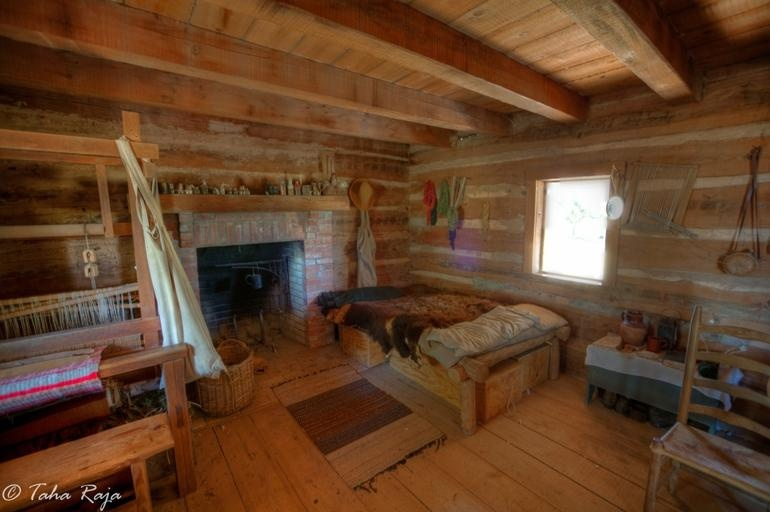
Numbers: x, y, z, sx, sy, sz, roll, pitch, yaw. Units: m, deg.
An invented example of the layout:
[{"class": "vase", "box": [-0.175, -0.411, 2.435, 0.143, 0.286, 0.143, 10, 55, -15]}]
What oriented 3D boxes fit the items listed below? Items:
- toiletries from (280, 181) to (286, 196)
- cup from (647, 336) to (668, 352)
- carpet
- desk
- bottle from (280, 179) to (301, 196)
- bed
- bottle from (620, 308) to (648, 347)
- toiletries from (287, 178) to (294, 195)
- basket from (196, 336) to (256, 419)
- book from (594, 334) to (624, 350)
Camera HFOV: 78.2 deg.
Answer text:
[{"class": "toiletries", "box": [-1.273, -0.838, 5.858, 0.074, 0.178, 0.169, -3, 5, -12]}, {"class": "cup", "box": [2.785, 0.885, 4.775, 0.145, 0.140, 0.183, -3, 5, -43]}, {"class": "carpet", "box": [-0.493, 1.618, 5.089, 0.978, 0.022, 1.484, -17, 12, -26]}, {"class": "desk", "box": [2.781, 1.312, 4.868, 1.242, 0.671, 0.868, 8, 7, 43]}, {"class": "bottle", "box": [-1.198, -0.839, 5.889, 0.257, 0.211, 0.087, -5, 7, -40]}, {"class": "bed", "box": [0.608, 0.943, 6.011, 1.868, 0.722, 2.711, -15, 18, -38]}, {"class": "bottle", "box": [2.609, 0.743, 4.917, 0.247, 0.342, 0.234, -6, 14, 2]}, {"class": "toiletries", "box": [-1.200, -0.866, 5.927, 0.079, 0.217, 0.161, -3, 6, -11]}, {"class": "basket", "box": [-1.656, 1.268, 5.159, 0.640, 0.648, 0.759, 14, 16, 39]}, {"class": "book", "box": [2.312, 0.871, 4.877, 0.183, 0.054, 0.181, -10, 7, -40]}]
